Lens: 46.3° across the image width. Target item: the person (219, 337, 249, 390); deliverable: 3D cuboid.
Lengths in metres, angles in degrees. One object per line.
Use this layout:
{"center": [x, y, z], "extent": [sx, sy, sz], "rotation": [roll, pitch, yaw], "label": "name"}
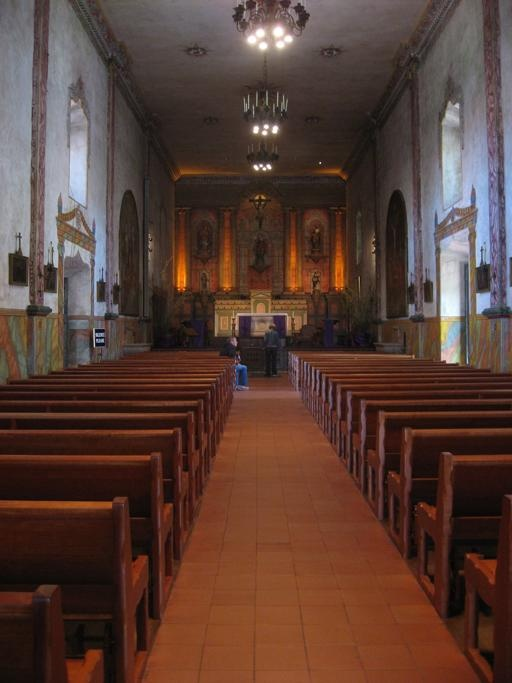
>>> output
{"center": [-0.448, 0.494, 12.911], "extent": [0.383, 1.163, 0.388], "rotation": [-4, 0, -9], "label": "person"}
